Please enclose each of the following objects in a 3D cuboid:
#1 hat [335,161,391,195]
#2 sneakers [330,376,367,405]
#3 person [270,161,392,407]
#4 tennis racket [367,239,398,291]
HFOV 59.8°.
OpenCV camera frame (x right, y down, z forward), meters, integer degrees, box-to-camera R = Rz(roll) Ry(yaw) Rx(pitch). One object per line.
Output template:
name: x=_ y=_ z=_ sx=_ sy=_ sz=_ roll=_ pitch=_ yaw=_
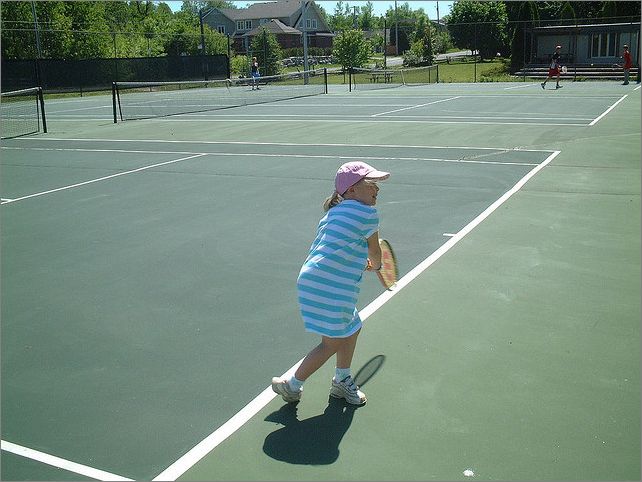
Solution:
hat: x=0.272 y=-0.458 z=3.858 sx=0.365 sy=0.200 sz=0.271 roll=-24 pitch=-8 yaw=21
sneakers: x=0.196 y=1.049 z=3.976 sx=0.298 sy=0.166 sz=0.144 roll=12 pitch=17 yaw=38
person: x=0.085 y=0.308 z=3.887 sx=0.805 sy=1.675 sz=0.451 roll=-2 pitch=14 yaw=-9
tennis racket: x=0.498 y=0.167 z=4.145 sx=0.134 sy=0.640 sz=0.049 roll=2 pitch=49 yaw=15
